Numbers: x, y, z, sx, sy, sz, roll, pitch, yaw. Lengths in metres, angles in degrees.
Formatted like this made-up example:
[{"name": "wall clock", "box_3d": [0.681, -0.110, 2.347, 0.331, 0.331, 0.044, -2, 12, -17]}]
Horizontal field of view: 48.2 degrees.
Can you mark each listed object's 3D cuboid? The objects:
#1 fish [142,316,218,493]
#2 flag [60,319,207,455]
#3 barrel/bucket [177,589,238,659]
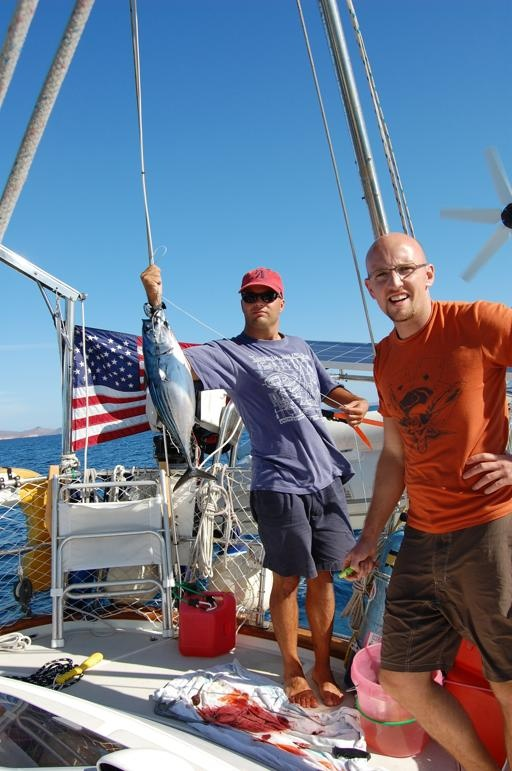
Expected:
[{"name": "fish", "box_3d": [-0.356, 0.079, 2.602, 0.294, 0.804, 0.683, 1, -6, 0]}, {"name": "flag", "box_3d": [-1.132, 0.062, 4.921, 0.136, 1.213, 1.782, -13, -12, 42]}, {"name": "barrel/bucket", "box_3d": [-0.222, 1.261, 3.046, 0.319, 0.313, 0.243, -3, -7, 14]}]
